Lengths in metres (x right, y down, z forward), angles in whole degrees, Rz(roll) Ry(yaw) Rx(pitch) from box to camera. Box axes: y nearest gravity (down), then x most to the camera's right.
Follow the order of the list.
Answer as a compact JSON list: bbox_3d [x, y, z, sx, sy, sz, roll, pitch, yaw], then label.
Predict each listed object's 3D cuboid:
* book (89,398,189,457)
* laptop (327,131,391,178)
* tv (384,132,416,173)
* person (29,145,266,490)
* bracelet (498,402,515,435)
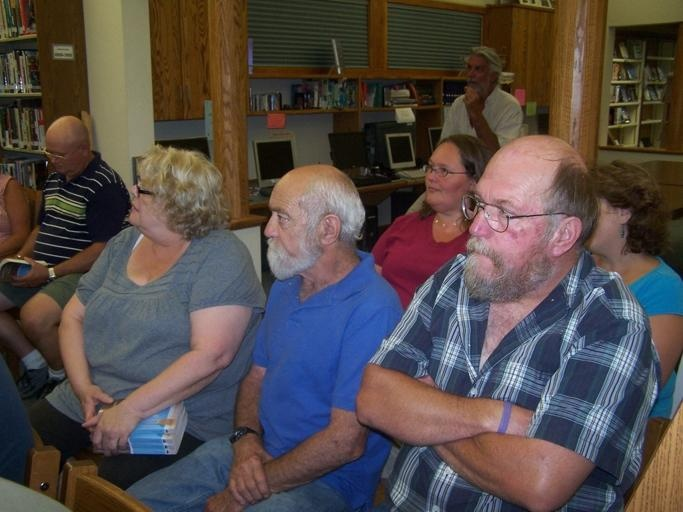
[{"bbox_3d":[-0.691,0.662,2.097,0.217,0.072,0.227,-5,34,6],"label":"book"},{"bbox_3d":[0.123,-1.159,6.348,0.550,0.532,0.824,7,8,34],"label":"laptop"},{"bbox_3d":[0.680,-1.233,6.806,0.143,0.484,0.453,-10,2,44],"label":"tv"},{"bbox_3d":[-0.859,0.224,2.328,0.893,1.282,0.935,12,15,34],"label":"person"},{"bbox_3d":[0.434,0.435,1.496,0.013,0.061,0.055,9,-1,7],"label":"bracelet"}]
